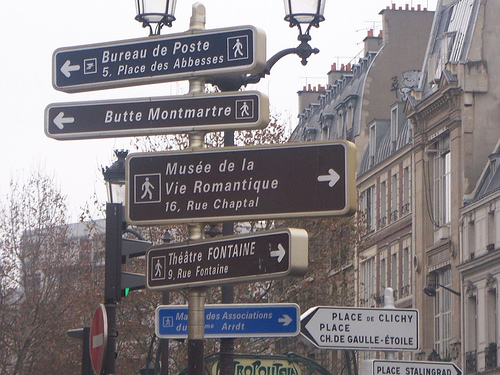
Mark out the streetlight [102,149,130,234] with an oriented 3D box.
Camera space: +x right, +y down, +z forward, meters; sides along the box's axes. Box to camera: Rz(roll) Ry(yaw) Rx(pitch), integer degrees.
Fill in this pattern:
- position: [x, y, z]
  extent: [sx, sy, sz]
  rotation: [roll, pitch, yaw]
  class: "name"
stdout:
- position: [-3.425, 0.278, 43.559]
  extent: [0.613, 2.325, 0.672]
  rotation: [2, -9, -28]
  class: "streetlight"
